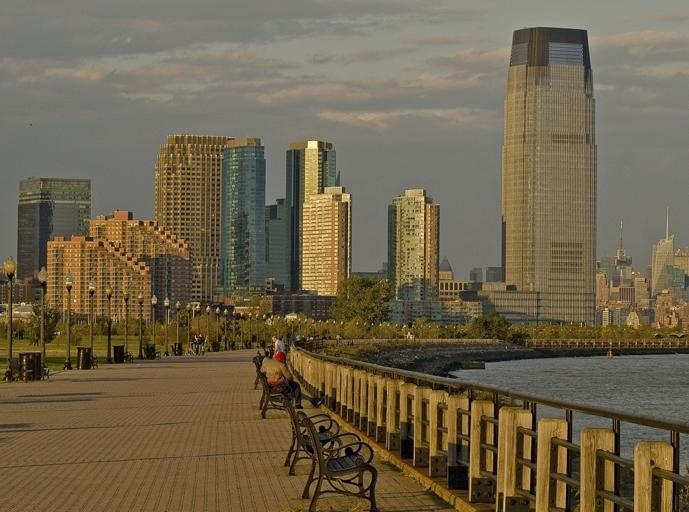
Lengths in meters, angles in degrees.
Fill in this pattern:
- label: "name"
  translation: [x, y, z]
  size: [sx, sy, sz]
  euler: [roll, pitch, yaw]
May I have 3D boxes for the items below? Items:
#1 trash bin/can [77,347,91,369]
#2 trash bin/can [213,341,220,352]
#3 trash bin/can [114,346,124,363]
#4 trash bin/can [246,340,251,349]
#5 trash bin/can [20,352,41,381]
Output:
- label: "trash bin/can"
  translation: [-10.217, 4.065, 56.864]
  size: [0.720, 0.772, 0.725]
  euler: [0, -7, -6]
- label: "trash bin/can"
  translation: [-7.903, 5.555, 88.247]
  size: [0.358, 0.500, 1.304]
  euler: [-1, -4, -11]
- label: "trash bin/can"
  translation: [-9.925, 4.329, 63.510]
  size: [0.628, 0.834, 0.632]
  euler: [0, -1, -4]
- label: "trash bin/can"
  translation: [-7.118, 6.553, 106.628]
  size: [0.440, 0.814, 0.441]
  euler: [-1, -4, -8]
- label: "trash bin/can"
  translation: [-10.498, 3.694, 48.270]
  size: [0.811, 0.817, 0.812]
  euler: [0, -6, -9]
